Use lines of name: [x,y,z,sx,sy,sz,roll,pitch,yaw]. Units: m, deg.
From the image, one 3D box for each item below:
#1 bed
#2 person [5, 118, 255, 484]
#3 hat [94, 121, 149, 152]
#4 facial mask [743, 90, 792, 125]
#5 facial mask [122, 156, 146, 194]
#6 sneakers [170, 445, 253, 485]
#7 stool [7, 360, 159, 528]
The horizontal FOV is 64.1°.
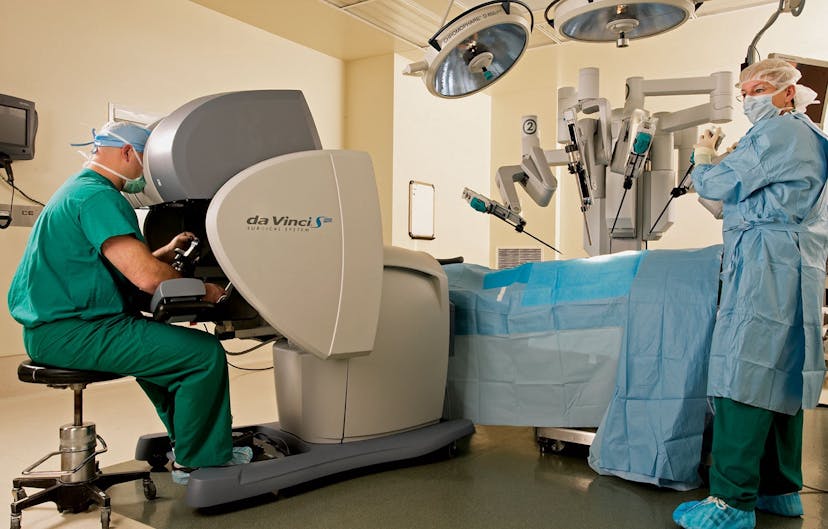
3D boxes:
bed: [0.961,0.493,3.785,1.365,0.875,1.006,3,3,35]
person: [-1.386,0.206,3.200,1.028,1.769,0.438,1,8,9]
hat: [-1.411,-0.625,3.223,0.216,0.114,0.160,-9,14,-31]
facial mask: [1.688,-0.743,3.154,0.156,0.093,0.124,-22,9,-12]
facial mask: [-1.367,-0.451,3.296,0.132,0.149,0.129,3,1,-22]
sneakers: [-1.004,1.003,3.335,0.345,0.110,0.226,-1,0,-22]
stool: [-1.556,0.860,3.373,0.728,0.698,0.738,0,-3,3]
